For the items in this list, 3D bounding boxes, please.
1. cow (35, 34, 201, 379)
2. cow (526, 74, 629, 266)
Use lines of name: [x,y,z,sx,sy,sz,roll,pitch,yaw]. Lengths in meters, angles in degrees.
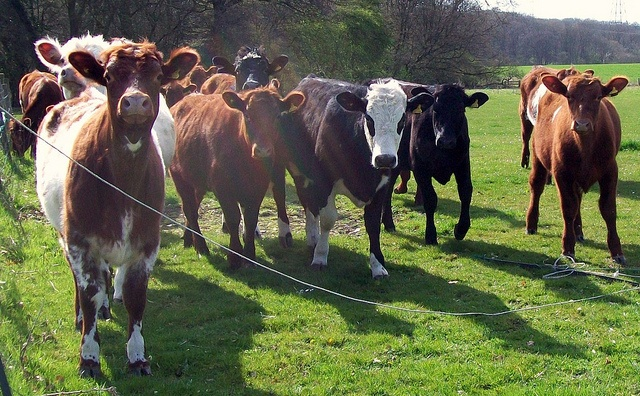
cow: [-3.518,0.104,11.259,2.372,5.291,1.416,7,11,29]
cow: [5.389,-0.740,14.431,1.451,3.757,2.339,-2,10,-19]
